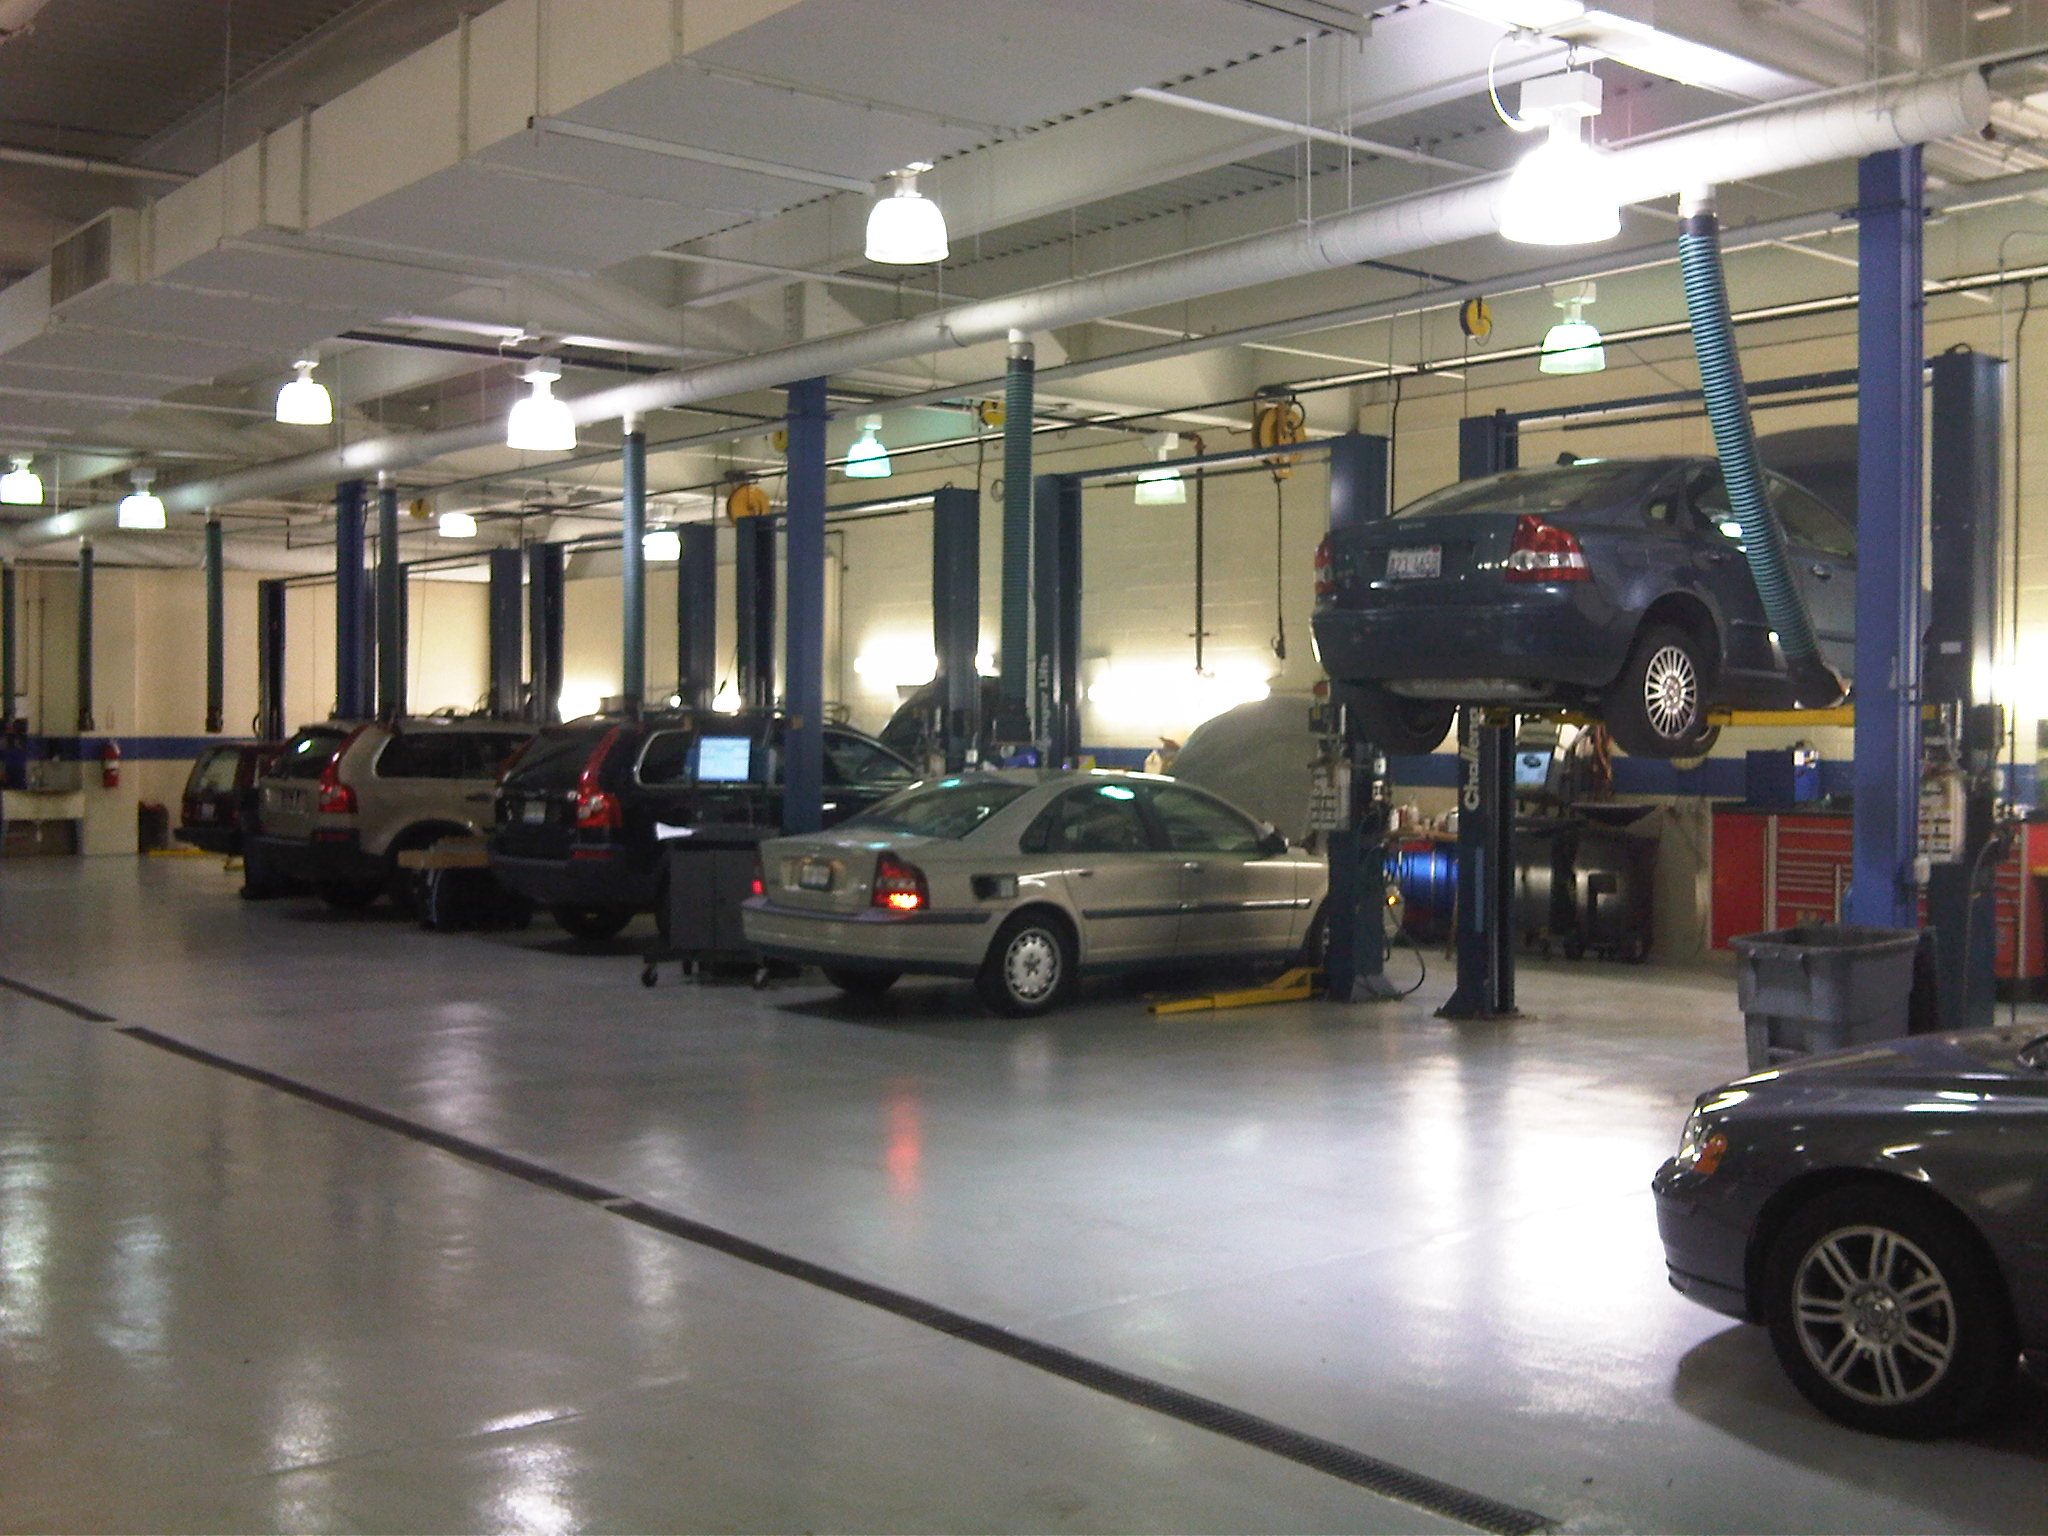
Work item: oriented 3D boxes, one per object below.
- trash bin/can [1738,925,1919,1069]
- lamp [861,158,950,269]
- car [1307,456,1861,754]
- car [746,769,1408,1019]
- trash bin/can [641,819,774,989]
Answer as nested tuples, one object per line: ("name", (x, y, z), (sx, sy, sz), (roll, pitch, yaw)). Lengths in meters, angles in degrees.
("trash bin/can", (3.390, 0.928, 7.339), (0.584, 0.574, 0.731), (2, -2, -23))
("lamp", (-0.604, -2.889, 9.091), (0.368, 0.539, 0.368), (0, 2, 4))
("car", (3.432, -0.979, 10.284), (3.282, 1.195, 1.552), (-6, 4, -40))
("car", (0.141, 0.749, 11.580), (3.482, 1.118, 1.550), (-2, 1, -36))
("trash bin/can", (-2.103, 0.951, 12.683), (1.112, 1.410, 1.061), (2, -1, -20))
